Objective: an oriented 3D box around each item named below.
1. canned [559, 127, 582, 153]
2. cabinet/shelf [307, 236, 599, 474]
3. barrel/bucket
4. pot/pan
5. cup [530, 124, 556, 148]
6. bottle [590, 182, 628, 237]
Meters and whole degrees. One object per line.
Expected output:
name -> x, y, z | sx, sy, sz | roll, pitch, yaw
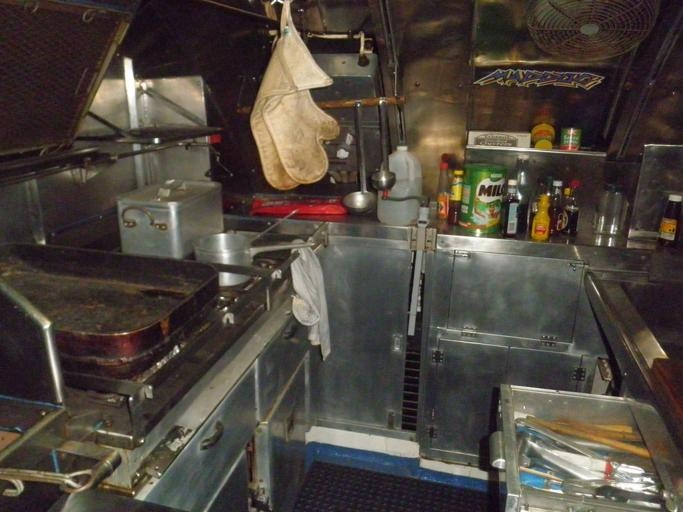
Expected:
canned -> 1.025, -0.520, 2.549 | 0.113, 0.107, 0.113 | -2, -78, 2
cabinet/shelf -> 0.488, 0.364, 2.378 | 1.082, 0.367, 0.826 | 3, -64, 8
barrel/bucket -> 0.288, -0.359, 2.603 | 0.194, 0.486, 0.321 | 10, -62, 11
pot/pan -> -0.329, 0.014, 1.930 | 0.319, 0.171, 0.098 | 4, -73, -2
cup -> 0.919, -0.544, 2.589 | 0.105, 0.141, 0.109 | 6, -63, 12
bottle -> 1.217, -0.207, 2.550 | 0.140, 0.234, 0.183 | 8, -62, 12
